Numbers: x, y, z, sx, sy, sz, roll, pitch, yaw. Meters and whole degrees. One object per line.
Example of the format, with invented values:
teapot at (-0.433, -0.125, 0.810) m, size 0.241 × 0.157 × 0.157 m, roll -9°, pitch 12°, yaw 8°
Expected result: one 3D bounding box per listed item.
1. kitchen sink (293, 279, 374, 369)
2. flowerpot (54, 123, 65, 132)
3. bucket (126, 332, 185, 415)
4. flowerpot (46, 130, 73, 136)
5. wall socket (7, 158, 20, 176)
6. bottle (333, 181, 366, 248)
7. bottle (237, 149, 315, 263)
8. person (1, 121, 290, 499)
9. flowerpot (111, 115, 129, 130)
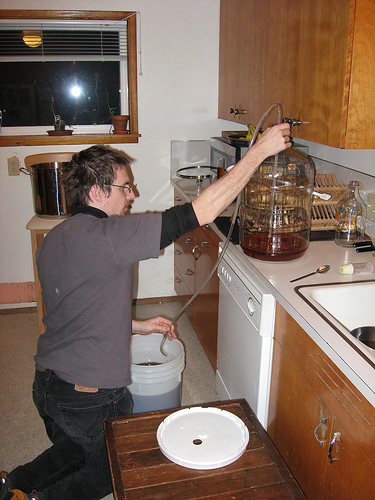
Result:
kitchen sink at (0.442, 0.214, 1.231) m, size 0.162 × 0.091 × 0.225 m, roll -7°, pitch 25°, yaw -10°
flowerpot at (-0.916, -0.882, 3.036) m, size 0.055 × 0.041 × 0.057 m, roll 0°, pitch 39°, yaw -7°
bucket at (-0.133, 0.539, 1.826) m, size 0.225 × 0.271 × 0.343 m, roll 0°, pitch 12°, yaw -3°
flowerpot at (-0.922, -0.858, 3.078) m, size 0.169 × 0.046 × 0.088 m, roll -3°, pitch 13°, yaw -19°
wall socket at (-1.242, -0.600, 3.035) m, size 0.074 × 0.126 × 0.038 m, roll -2°, pitch 12°, yaw -15°
bottle at (0.654, -0.147, 1.700) m, size 0.119 × 0.257 × 0.151 m, roll 5°, pitch 12°, yaw 19°
bottle at (0.363, -0.218, 1.723) m, size 0.275 × 0.490 × 0.281 m, roll 0°, pitch 11°, yaw 0°
person at (-0.220, 0.348, 1.316) m, size 0.882 × 1.409 × 0.454 m, roll 3°, pitch 11°, yaw 9°
flowerpot at (-0.489, -0.941, 3.089) m, size 0.107 × 0.084 × 0.110 m, roll -1°, pitch 25°, yaw -4°
